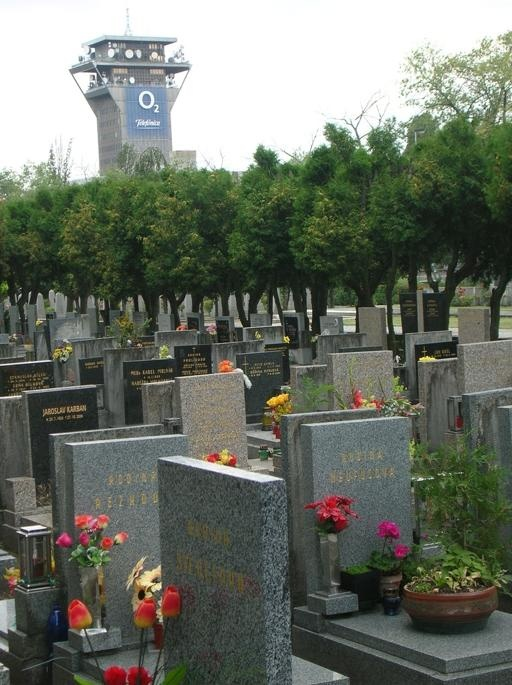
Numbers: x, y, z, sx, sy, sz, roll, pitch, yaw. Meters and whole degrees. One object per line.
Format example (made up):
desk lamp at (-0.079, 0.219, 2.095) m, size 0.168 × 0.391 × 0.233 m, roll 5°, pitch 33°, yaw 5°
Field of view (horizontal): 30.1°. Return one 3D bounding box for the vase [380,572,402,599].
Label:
vase at (0.995, 1.747, 6.884) m, size 0.141 × 0.109 × 0.141 m, roll -4°, pitch -15°, yaw -1°

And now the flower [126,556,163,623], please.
flower at (-0.758, 1.630, 6.230) m, size 0.070 × 0.312 × 0.324 m, roll 13°, pitch 13°, yaw -4°

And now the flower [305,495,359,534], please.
flower at (0.515, 1.233, 6.804) m, size 0.340 × 0.263 × 0.441 m, roll -4°, pitch -1°, yaw -29°

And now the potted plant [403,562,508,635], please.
potted plant at (1.280, 1.570, 6.117) m, size 0.516 × 0.283 × 0.493 m, roll 7°, pitch -11°, yaw -44°

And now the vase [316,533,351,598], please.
vase at (0.556, 1.617, 6.912) m, size 0.119 × 0.424 × 0.123 m, roll 2°, pitch -11°, yaw -26°

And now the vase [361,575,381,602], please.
vase at (0.854, 1.760, 6.868) m, size 0.065 × 0.226 × 0.192 m, roll -5°, pitch -1°, yaw 40°

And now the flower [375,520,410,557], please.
flower at (1.044, 1.461, 7.114) m, size 0.244 × 0.270 × 0.445 m, roll -5°, pitch -1°, yaw 7°
